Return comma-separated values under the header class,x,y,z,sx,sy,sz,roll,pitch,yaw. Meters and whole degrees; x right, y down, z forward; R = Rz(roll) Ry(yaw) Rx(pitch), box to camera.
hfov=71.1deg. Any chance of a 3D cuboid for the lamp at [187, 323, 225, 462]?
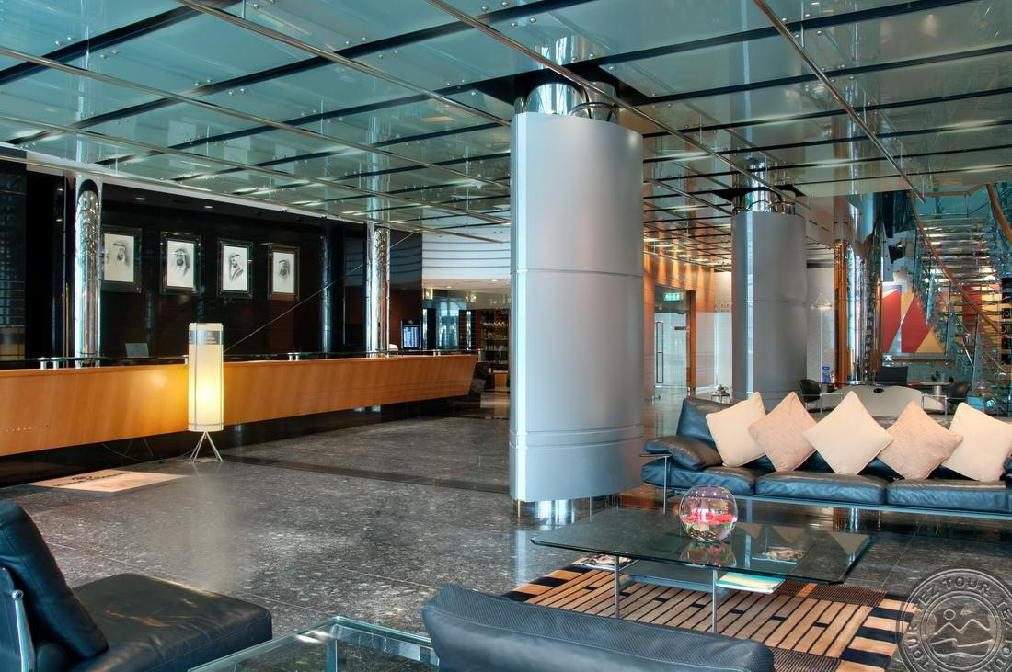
class,x,y,z,sx,sy,sz,roll,pitch,yaw
lamp,-4.449,0.823,10.432,0.462,1.979,0.684,0,2,-23
